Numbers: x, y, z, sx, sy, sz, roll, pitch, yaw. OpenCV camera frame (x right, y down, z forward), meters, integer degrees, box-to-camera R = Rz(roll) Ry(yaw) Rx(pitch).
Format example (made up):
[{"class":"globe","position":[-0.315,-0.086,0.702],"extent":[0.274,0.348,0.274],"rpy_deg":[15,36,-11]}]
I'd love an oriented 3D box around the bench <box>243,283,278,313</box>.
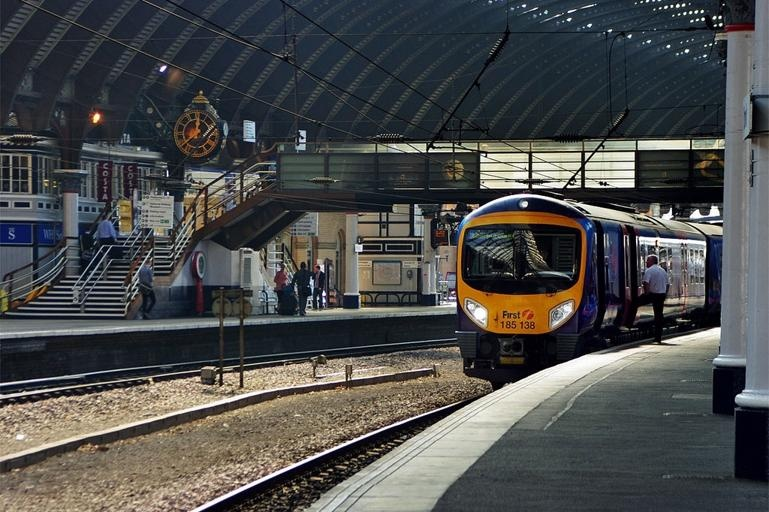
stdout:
[{"class":"bench","position":[-5.173,1.865,43.953],"extent":[0.963,1.206,2.614],"rpy_deg":[-1,-1,2]}]

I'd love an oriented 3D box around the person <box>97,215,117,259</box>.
[{"class":"person","position":[-10.962,-0.693,40.097],"extent":[0.690,1.526,0.972],"rpy_deg":[0,-1,-16]}]
